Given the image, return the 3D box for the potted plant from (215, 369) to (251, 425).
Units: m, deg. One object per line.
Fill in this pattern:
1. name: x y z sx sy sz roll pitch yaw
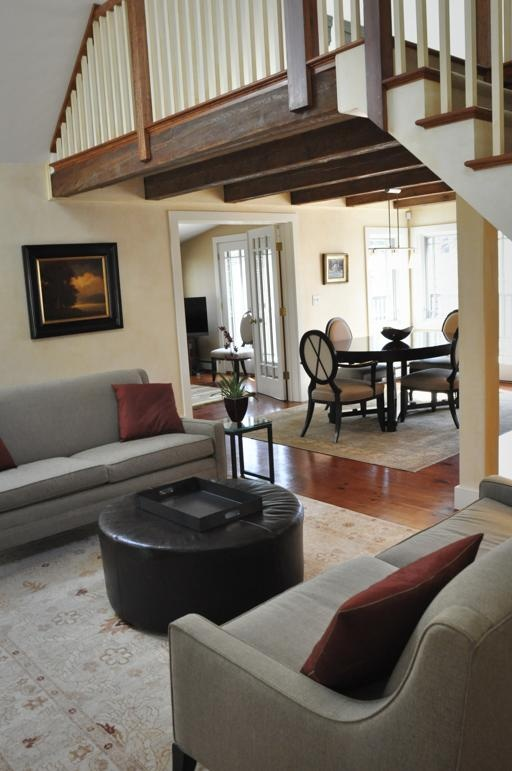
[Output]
1. potted plant: -0.130 0.079 4.045 0.174 0.355 0.208 2 6 41

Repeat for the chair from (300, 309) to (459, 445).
1. chair: 1.254 -0.060 5.587 0.872 1.016 1.691 2 6 45

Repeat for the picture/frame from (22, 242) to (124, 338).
1. picture/frame: -1.547 -0.795 4.876 0.056 0.769 0.745 8 15 44

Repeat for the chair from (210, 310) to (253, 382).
1. chair: -0.262 -0.558 8.554 0.611 0.935 0.590 -11 8 -27

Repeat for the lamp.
1. lamp: 1.881 -2.172 8.189 0.623 1.185 0.591 15 29 33

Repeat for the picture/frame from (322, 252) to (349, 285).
1. picture/frame: 0.999 -1.495 7.532 0.031 0.349 0.408 8 16 39
